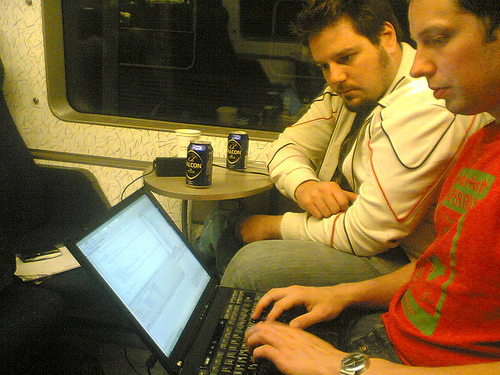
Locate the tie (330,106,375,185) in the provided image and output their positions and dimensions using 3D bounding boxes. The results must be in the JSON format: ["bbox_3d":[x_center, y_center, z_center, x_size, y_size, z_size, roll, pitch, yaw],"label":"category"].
[{"bbox_3d":[0.463,-0.221,1.747,0.110,0.080,0.441,8,57,26],"label":"tie"}]

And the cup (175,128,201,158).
[{"bbox_3d":[-0.333,-0.225,2.037,0.144,0.183,0.137,4,19,-1],"label":"cup"}]

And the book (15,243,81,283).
[{"bbox_3d":[-0.714,0.271,1.392,0.238,0.058,0.182,-13,28,-34],"label":"book"}]

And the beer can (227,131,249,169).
[{"bbox_3d":[-0.067,-0.194,2.049,0.109,0.216,0.070,5,29,0],"label":"beer can"}]

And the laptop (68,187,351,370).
[{"bbox_3d":[-0.096,0.290,1.074,0.633,0.318,0.417,9,22,-1],"label":"laptop"}]
